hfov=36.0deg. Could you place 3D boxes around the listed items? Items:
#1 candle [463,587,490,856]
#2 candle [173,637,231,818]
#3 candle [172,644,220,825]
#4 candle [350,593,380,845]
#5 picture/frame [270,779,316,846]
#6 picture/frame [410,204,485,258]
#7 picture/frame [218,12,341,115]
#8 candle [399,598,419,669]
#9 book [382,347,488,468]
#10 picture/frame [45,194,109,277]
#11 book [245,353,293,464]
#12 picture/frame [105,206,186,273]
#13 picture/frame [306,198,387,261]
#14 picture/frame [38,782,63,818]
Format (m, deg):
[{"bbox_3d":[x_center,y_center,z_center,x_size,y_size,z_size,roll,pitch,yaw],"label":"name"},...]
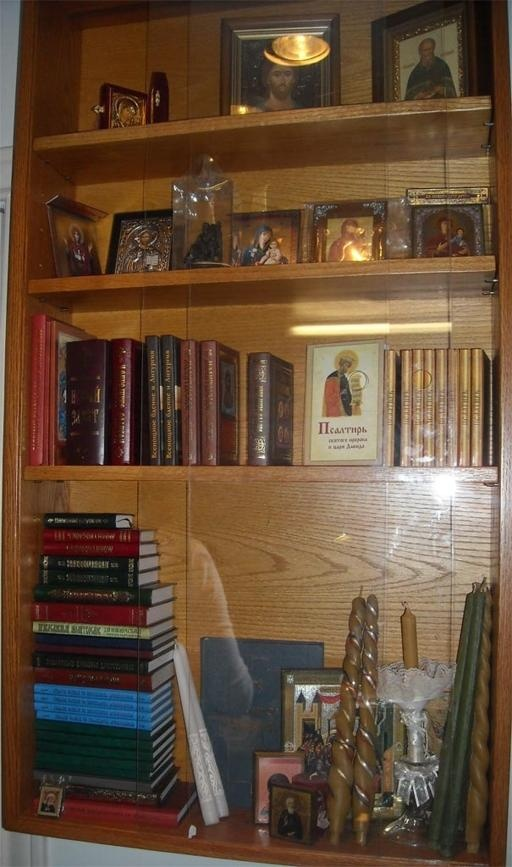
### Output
[{"bbox_3d":[0.358,0.454,1.250,0.062,0.413,0.027,1,-1,-37],"label":"candle"},{"bbox_3d":[-0.103,0.512,1.356,0.111,0.296,0.044,-1,-1,39],"label":"candle"},{"bbox_3d":[-0.105,0.525,1.340,0.043,0.414,0.044,-10,-5,9],"label":"candle"},{"bbox_3d":[0.177,0.462,1.275,0.038,0.391,0.038,0,-1,21],"label":"candle"},{"bbox_3d":[0.063,0.614,1.283,0.098,0.119,0.023,2,5,32],"label":"picture/frame"},{"bbox_3d":[0.322,-0.336,1.303,0.085,0.078,0.012,0,3,7],"label":"picture/frame"},{"bbox_3d":[0.048,-0.650,1.370,0.186,0.147,0.020,1,22,6],"label":"picture/frame"},{"bbox_3d":[0.245,0.324,1.260,0.029,0.098,0.015,0,-1,10],"label":"candle"},{"bbox_3d":[0.314,-0.046,1.360,0.160,0.226,0.222,0,-2,20],"label":"book"},{"bbox_3d":[-0.371,-0.400,1.613,0.048,0.180,0.171,-9,2,27],"label":"picture/frame"},{"bbox_3d":[0.024,-0.040,1.308,0.076,0.186,0.032,0,-1,5],"label":"book"},{"bbox_3d":[-0.211,-0.374,1.528,0.160,0.167,0.023,3,-8,31],"label":"picture/frame"},{"bbox_3d":[0.158,-0.346,1.331,0.103,0.099,0.016,0,-2,14],"label":"picture/frame"},{"bbox_3d":[-0.374,0.666,1.429,0.052,0.063,0.011,-4,-38,-3],"label":"picture/frame"}]
